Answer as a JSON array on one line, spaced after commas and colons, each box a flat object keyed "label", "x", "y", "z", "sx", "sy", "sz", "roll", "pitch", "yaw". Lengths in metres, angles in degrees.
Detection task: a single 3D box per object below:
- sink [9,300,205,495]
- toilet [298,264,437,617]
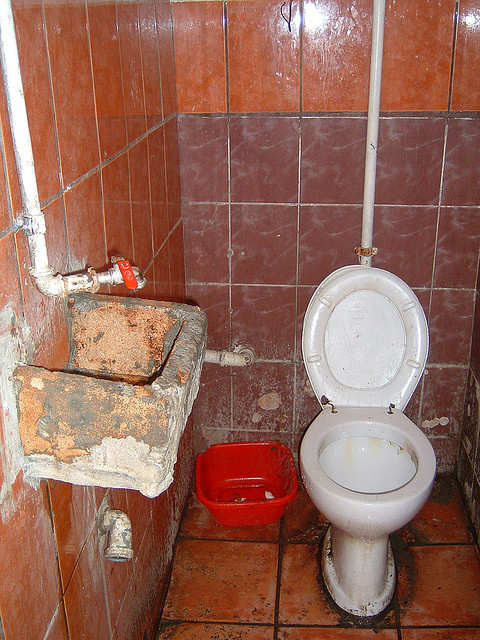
[{"label": "sink", "x": -0.171, "y": 0.092, "z": 0.785, "sx": 0.216, "sy": 0.181, "sz": 0.317, "roll": 4, "pitch": 19, "yaw": 3}, {"label": "toilet", "x": 0.374, "y": 0.375, "z": 1.600, "sx": 0.301, "sy": 0.940, "sz": 0.729, "roll": 1, "pitch": 23, "yaw": 6}]
